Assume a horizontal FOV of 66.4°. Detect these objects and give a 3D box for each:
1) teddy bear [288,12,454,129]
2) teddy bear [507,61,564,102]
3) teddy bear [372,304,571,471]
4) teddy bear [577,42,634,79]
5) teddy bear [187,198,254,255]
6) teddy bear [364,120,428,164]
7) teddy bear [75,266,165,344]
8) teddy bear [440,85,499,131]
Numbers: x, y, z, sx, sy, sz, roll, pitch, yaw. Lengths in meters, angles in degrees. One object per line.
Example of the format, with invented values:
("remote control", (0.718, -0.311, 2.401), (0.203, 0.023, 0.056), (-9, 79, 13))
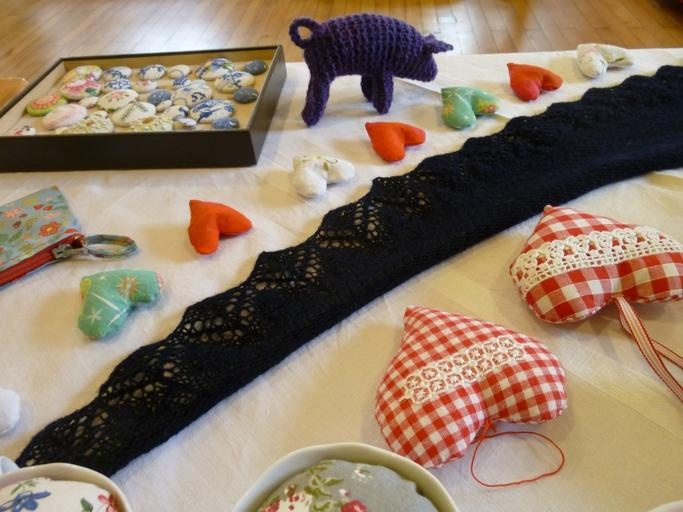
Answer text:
("teddy bear", (0.076, -0.613, 1.713), (0.547, 0.289, 0.183), (-11, 40, -25))
("teddy bear", (0.649, -0.597, 1.785), (0.197, 0.068, 0.175), (17, 54, 14))
("teddy bear", (0.314, 0.228, 1.173), (0.366, 0.085, 0.370), (19, 12, 25))
("teddy bear", (0.906, -0.687, 1.835), (0.151, 0.052, 0.158), (-38, 63, -14))
("teddy bear", (-0.361, -0.085, 1.412), (0.156, 0.069, 0.155), (35, 60, 25))
("teddy bear", (0.153, -0.376, 1.636), (0.176, 0.069, 0.174), (31, 59, 23))
("teddy bear", (-0.533, 0.111, 1.264), (0.193, 0.066, 0.172), (-9, 52, -5))
("teddy bear", (0.413, -0.484, 1.719), (0.171, 0.161, 0.060), (-5, 52, -30))
